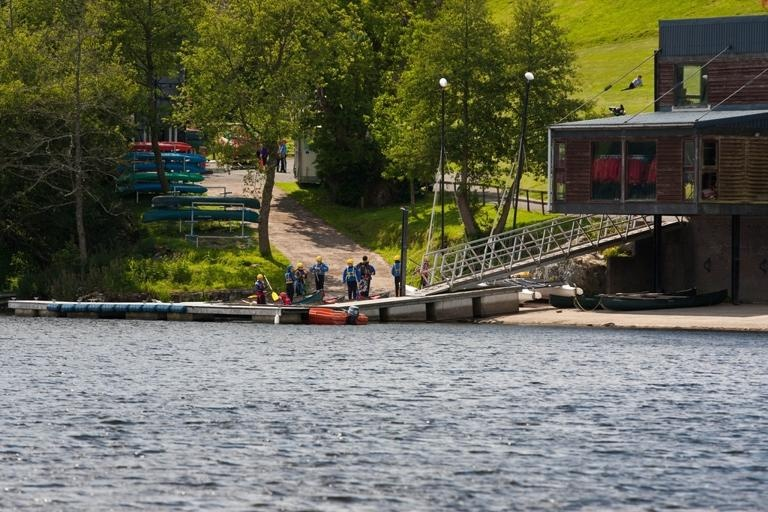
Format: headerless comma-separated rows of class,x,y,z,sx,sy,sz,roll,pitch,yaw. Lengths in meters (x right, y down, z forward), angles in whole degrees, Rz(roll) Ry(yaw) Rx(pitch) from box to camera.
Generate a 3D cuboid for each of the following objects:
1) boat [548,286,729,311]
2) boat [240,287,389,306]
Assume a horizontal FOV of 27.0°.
boat,15.013,2.726,92.684,5.741,1.722,6.454,-8,-2,-8
boat,-4.271,2.446,95.548,4.267,0.543,0.743,-5,-5,-17
